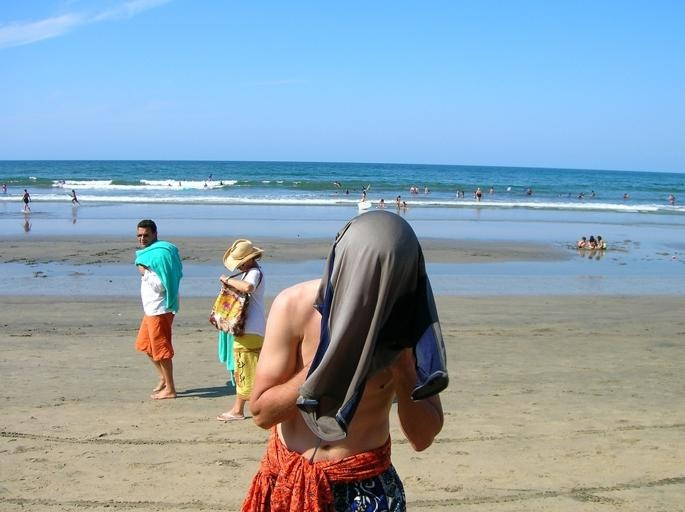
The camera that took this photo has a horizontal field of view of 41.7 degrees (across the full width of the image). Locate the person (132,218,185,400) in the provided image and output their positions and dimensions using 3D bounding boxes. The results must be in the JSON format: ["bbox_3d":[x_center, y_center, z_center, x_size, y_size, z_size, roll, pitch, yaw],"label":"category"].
[{"bbox_3d":[-2.669,0.736,13.052,0.626,2.528,0.952,0,8,-13],"label":"person"}]
